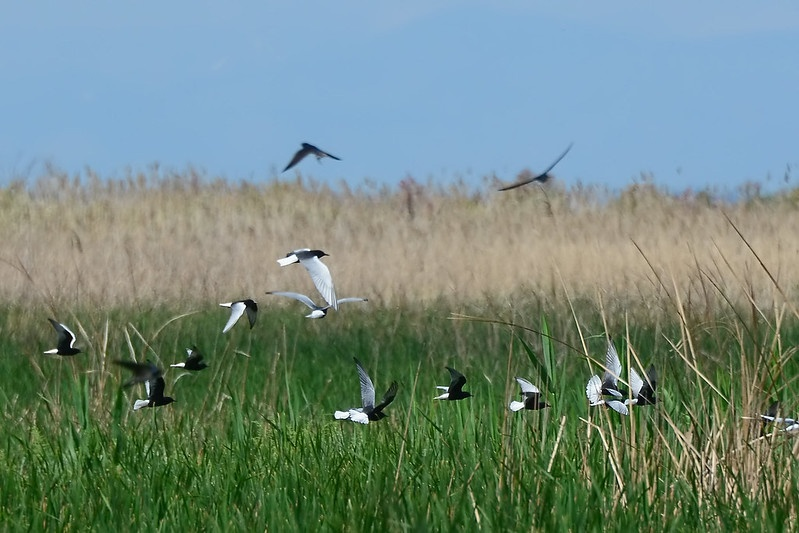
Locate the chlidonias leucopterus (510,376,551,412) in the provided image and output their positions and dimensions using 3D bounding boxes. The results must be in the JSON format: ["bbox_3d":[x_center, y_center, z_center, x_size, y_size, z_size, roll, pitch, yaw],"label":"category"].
[{"bbox_3d":[0.863,0.853,9.665,0.256,0.217,0.375,-5,0,5],"label":"chlidonias leucopterus"}]

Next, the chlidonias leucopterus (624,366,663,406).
[{"bbox_3d":[1.604,0.807,9.494,0.202,0.193,0.283,-13,-17,27],"label":"chlidonias leucopterus"}]

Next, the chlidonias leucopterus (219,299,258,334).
[{"bbox_3d":[-1.110,0.310,9.990,0.202,0.141,0.361,-7,3,-8],"label":"chlidonias leucopterus"}]

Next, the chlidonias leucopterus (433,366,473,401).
[{"bbox_3d":[0.364,0.789,9.623,0.192,0.082,0.326,15,10,5],"label":"chlidonias leucopterus"}]
